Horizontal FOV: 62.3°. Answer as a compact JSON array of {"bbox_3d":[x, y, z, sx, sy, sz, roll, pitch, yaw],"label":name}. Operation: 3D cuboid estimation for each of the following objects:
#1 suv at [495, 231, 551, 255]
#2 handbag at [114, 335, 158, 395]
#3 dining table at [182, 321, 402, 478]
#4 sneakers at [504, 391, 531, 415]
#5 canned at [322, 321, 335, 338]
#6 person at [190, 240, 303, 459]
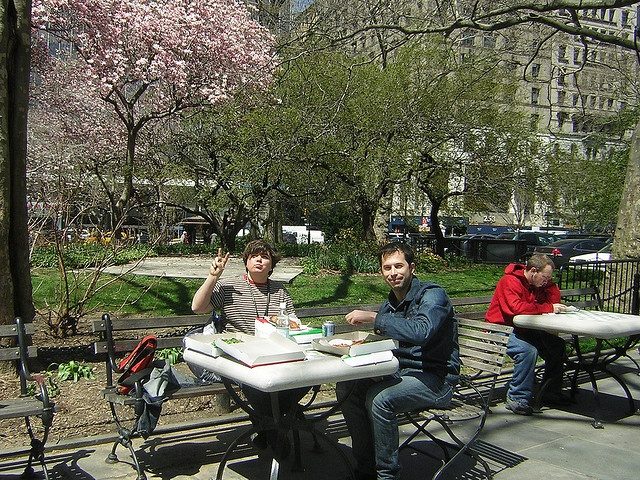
[{"bbox_3d":[11.346,-0.019,27.987,3.226,0.961,1.541,-3,3,-29],"label":"suv"},{"bbox_3d":[-1.641,1.117,4.762,0.330,0.484,0.258,-1,3,-24],"label":"handbag"},{"bbox_3d":[-0.260,1.364,4.308,1.437,1.243,1.037,-1,3,-29],"label":"dining table"},{"bbox_3d":[2.341,1.927,6.175,0.152,0.167,0.368,4,-8,-26],"label":"sneakers"},{"bbox_3d":[0.076,0.773,4.612,0.139,0.135,0.130,-1,4,-10],"label":"canned"},{"bbox_3d":[-0.594,0.938,4.991,1.228,1.837,1.207,3,-3,29],"label":"person"}]
